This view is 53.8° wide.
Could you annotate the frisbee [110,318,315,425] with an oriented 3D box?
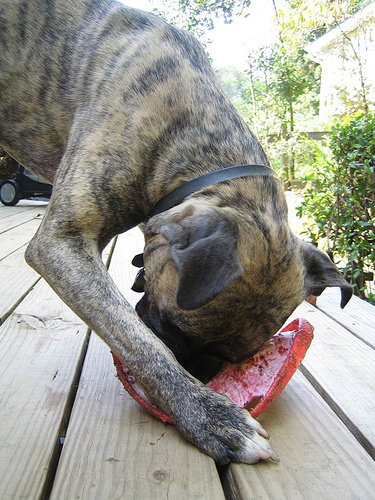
[{"bbox_3d":[0.178,0.373,1.248,0.720,0.262,0.424,-1,8,-37],"label":"frisbee"}]
